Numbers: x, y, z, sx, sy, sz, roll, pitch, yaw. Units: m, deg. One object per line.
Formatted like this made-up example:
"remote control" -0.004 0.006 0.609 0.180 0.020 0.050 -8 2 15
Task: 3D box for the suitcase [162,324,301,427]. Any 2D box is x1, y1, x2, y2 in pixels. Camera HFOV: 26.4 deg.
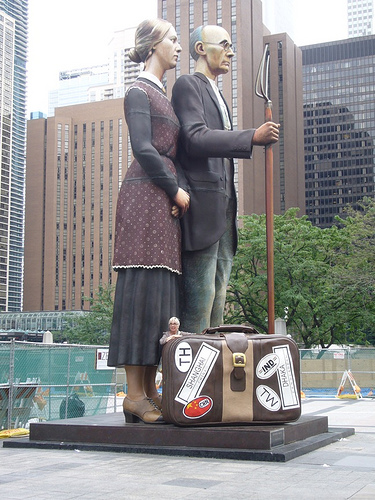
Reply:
"suitcase" 0.420 1.281 7.903 0.906 0.757 0.367 2 -13 -13

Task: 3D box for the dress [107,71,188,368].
"dress" -0.461 -0.344 8.704 0.912 3.156 0.672 -2 -2 -10
